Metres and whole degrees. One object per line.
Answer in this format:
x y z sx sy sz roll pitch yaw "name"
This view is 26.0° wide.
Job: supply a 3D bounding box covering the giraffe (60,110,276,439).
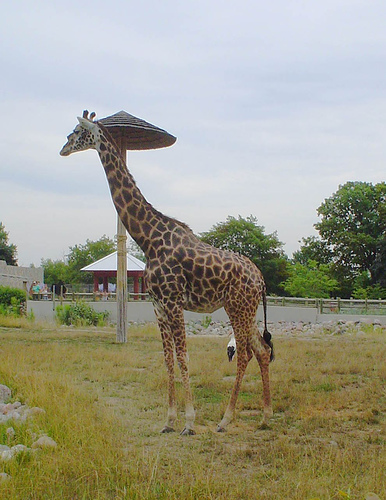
-0.204 0.247 10.806 2.389 4.057 1.082 -1 -2 2 "giraffe"
